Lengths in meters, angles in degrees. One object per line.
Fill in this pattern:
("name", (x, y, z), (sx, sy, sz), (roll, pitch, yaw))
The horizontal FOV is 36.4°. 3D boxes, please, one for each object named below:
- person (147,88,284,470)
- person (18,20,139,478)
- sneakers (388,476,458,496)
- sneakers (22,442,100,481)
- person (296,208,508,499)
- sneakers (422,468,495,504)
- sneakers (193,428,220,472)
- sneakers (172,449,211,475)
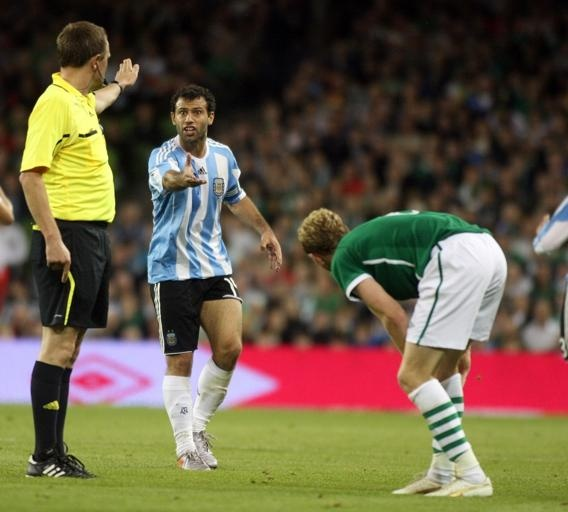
("person", (-0.609, 0.194, 6.430), (0.980, 2.818, 1.482), (7, 10, 6))
("person", (-1.428, -0.090, 5.653), (0.598, 2.855, 1.092), (4, 10, -12))
("sneakers", (0.858, 1.456, 5.390), (0.388, 0.173, 0.137), (-1, -15, -11))
("sneakers", (-1.392, 1.322, 5.519), (0.480, 0.214, 0.177), (2, -6, 2))
("person", (0.788, 0.610, 5.487), (1.247, 1.717, 0.775), (9, 10, 15))
("sneakers", (1.037, 1.387, 5.213), (0.422, 0.190, 0.160), (-2, -9, 4))
("sneakers", (-0.562, 1.419, 6.274), (0.107, 0.156, 0.348), (19, 14, -41))
("sneakers", (-0.638, 1.438, 5.995), (0.104, 0.102, 0.233), (-10, 7, -43))
